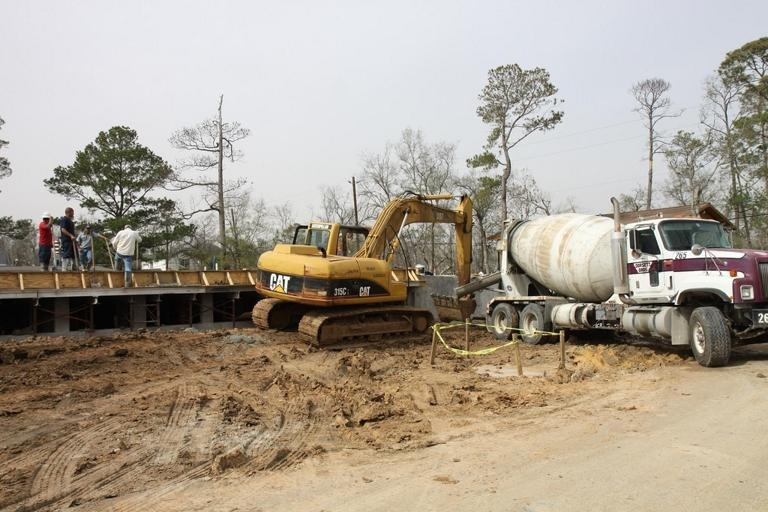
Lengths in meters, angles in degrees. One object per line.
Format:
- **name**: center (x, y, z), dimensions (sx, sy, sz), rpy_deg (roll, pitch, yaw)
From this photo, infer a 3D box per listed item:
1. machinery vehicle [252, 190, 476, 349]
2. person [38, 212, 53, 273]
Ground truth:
- **machinery vehicle**: center (-0.014, 0.236, 18.020), dimensions (6.981, 4.219, 3.616), rpy_deg (0, 5, -35)
- **person**: center (-11.089, -0.418, 18.452), dimensions (0.439, 1.775, 1.088), rpy_deg (-8, 9, -31)
